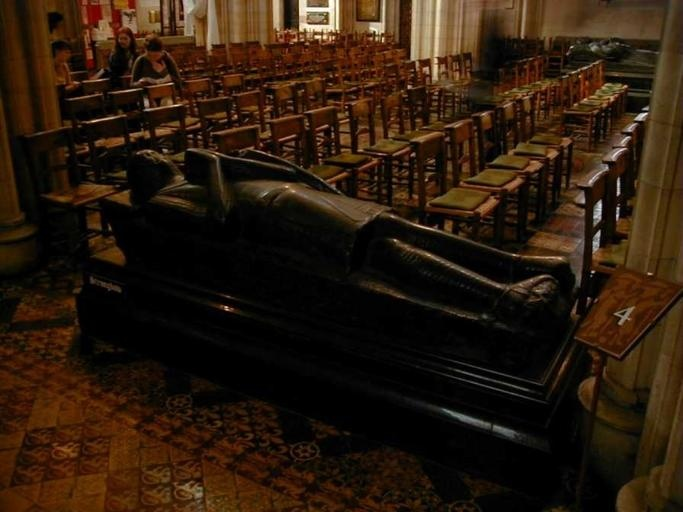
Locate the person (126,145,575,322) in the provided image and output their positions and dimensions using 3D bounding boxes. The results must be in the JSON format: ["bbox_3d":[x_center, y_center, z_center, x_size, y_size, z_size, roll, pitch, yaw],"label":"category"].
[{"bbox_3d":[-0.244,-0.045,3.249,3.002,0.683,0.855,12,43,15],"label":"person"}]
